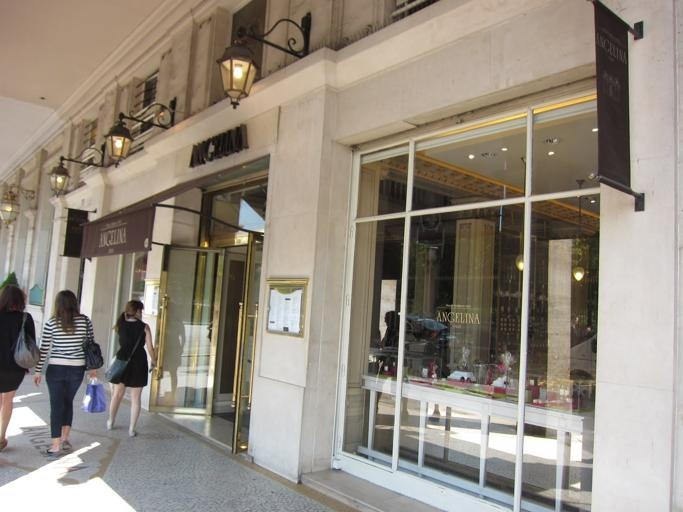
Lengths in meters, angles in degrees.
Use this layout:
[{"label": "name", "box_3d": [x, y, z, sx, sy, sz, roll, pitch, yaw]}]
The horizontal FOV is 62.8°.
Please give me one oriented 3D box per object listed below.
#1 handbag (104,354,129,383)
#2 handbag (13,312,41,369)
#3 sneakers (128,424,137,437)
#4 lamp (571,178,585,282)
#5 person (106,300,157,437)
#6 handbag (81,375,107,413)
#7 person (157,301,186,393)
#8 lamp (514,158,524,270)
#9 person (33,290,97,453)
[{"label": "handbag", "box_3d": [-3.498, 1.751, 8.612, 0.417, 0.400, 0.116, 2, 0, 25]}, {"label": "handbag", "box_3d": [-4.239, 1.173, 7.538, 0.335, 0.776, 0.367, 1, 0, -15]}, {"label": "sneakers", "box_3d": [-3.269, 2.666, 8.714, 0.098, 0.212, 0.302, 4, 0, -10]}, {"label": "lamp", "box_3d": [2.379, -0.145, 5.612, 0.036, 0.811, 0.098, 1, 0, -33]}, {"label": "person", "box_3d": [-3.358, 1.735, 8.955, 0.703, 2.091, 0.923, 1, 0, -22]}, {"label": "handbag", "box_3d": [-3.553, 2.002, 8.092, 0.215, 0.420, 0.320, -7, -8, -5]}, {"label": "person", "box_3d": [-3.074, 1.673, 10.201, 0.418, 1.749, 0.186, 1, 0, -13]}, {"label": "lamp", "box_3d": [1.923, -0.457, 6.028, 0.082, 1.241, 0.166, 1, 0, 17]}, {"label": "person", "box_3d": [-3.769, 1.579, 7.633, 0.558, 2.227, 0.421, 1, 0, 11]}]
